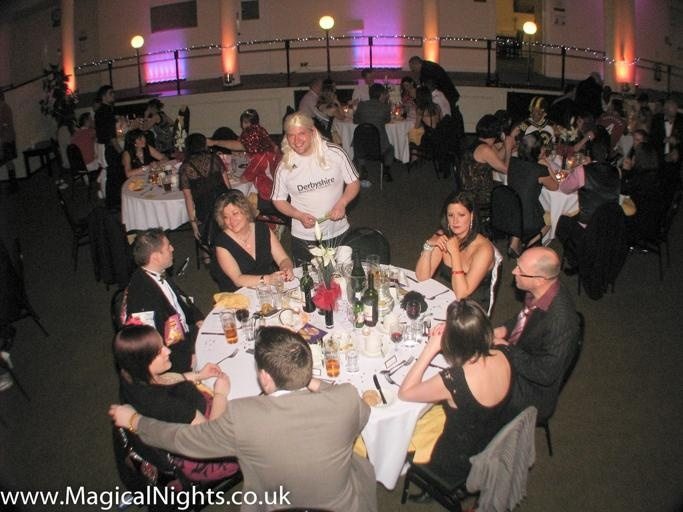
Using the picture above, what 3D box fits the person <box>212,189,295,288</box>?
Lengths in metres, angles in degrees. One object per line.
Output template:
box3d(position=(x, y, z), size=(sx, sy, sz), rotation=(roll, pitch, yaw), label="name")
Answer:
box3d(position=(-0.769, -0.137, 4.500), size=(0.465, 0.859, 0.685), rotation=(-30, 45, -27), label="person")

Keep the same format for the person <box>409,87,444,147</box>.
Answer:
box3d(position=(1.329, -2.214, 8.439), size=(0.496, 0.813, 0.523), rotation=(11, 27, 21), label="person")

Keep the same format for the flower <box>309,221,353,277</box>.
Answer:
box3d(position=(-0.099, -0.048, 4.165), size=(0.268, 0.364, 0.322), rotation=(15, 27, 19), label="flower")

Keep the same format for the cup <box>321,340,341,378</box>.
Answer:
box3d(position=(-0.051, 0.655, 3.358), size=(0.126, 0.243, 0.190), rotation=(-2, 28, 3), label="cup")

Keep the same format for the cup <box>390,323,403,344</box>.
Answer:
box3d(position=(0.366, 0.511, 3.495), size=(0.103, 0.191, 0.115), rotation=(0, 8, 2), label="cup")

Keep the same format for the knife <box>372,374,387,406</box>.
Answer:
box3d(position=(0.238, 0.827, 3.233), size=(0.036, 0.010, 0.218), rotation=(-14, 34, -1), label="knife")

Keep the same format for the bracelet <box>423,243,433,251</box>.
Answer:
box3d(position=(0.684, -0.070, 4.159), size=(0.066, 0.075, 0.069), rotation=(2, 11, 26), label="bracelet")

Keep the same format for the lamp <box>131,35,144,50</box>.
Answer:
box3d(position=(-5.463, -5.726, 14.086), size=(0.386, 0.359, 0.633), rotation=(-8, 13, -20), label="lamp")

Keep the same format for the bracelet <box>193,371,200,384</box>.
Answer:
box3d(position=(-0.940, 0.789, 3.405), size=(0.048, 0.073, 0.027), rotation=(1, 2, 28), label="bracelet")

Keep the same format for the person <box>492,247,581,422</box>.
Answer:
box3d(position=(1.370, 0.586, 3.687), size=(0.422, 1.384, 0.535), rotation=(5, 43, 10), label="person")

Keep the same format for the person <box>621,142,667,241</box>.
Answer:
box3d(position=(3.217, -0.647, 5.593), size=(0.400, 1.100, 0.288), rotation=(3, 13, 24), label="person")

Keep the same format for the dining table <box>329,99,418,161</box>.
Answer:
box3d(position=(0.520, -1.952, 8.301), size=(1.272, 0.846, 1.381), rotation=(0, 28, 2), label="dining table")

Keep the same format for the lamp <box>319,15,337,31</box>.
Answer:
box3d(position=(-0.348, -5.906, 13.343), size=(0.405, 0.424, 0.655), rotation=(-3, 12, -2), label="lamp")

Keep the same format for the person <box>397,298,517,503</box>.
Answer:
box3d(position=(0.701, 0.841, 3.110), size=(0.583, 1.172, 0.258), rotation=(1, 12, 19), label="person")

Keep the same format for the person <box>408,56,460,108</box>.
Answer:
box3d(position=(1.768, -3.300, 10.419), size=(0.517, 1.332, 0.566), rotation=(-16, -1, -29), label="person")

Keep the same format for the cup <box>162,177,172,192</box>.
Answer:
box3d(position=(-2.080, -0.850, 6.285), size=(0.094, 0.171, 0.160), rotation=(-1, -4, 2), label="cup")

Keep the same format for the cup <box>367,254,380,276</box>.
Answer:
box3d(position=(0.243, 0.072, 3.932), size=(0.109, 0.199, 0.113), rotation=(1, 4, 0), label="cup")

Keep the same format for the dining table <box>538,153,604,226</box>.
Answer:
box3d(position=(2.423, -0.704, 5.679), size=(0.694, 0.271, 0.662), rotation=(17, 64, 36), label="dining table")

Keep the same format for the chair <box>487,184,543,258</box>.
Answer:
box3d(position=(1.864, -0.394, 5.585), size=(0.465, 0.793, 0.413), rotation=(-27, 39, -30), label="chair")

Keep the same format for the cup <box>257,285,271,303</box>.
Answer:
box3d(position=(-0.568, 0.280, 3.923), size=(0.106, 0.116, 0.197), rotation=(6, 1, 2), label="cup")

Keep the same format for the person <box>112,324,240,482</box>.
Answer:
box3d(position=(-0.974, 0.892, 3.130), size=(0.507, 0.969, 0.481), rotation=(-31, 57, -20), label="person")

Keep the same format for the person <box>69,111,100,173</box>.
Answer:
box3d(position=(-4.209, -1.734, 8.647), size=(0.415, 1.080, 0.430), rotation=(-10, 18, -43), label="person")

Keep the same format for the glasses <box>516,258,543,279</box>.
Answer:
box3d(position=(1.253, 0.090, 3.531), size=(0.116, 0.039, 0.124), rotation=(6, 28, -3), label="glasses")

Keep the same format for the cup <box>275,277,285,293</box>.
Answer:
box3d(position=(-0.464, 0.226, 3.978), size=(0.082, 0.106, 0.087), rotation=(-4, 4, 0), label="cup")

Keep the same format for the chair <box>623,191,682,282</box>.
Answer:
box3d(position=(3.383, -0.188, 5.751), size=(0.505, 0.804, 0.478), rotation=(26, 57, 35), label="chair")

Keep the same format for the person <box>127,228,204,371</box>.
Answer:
box3d(position=(-1.367, 0.349, 4.080), size=(0.442, 1.257, 0.524), rotation=(-1, 34, -7), label="person")

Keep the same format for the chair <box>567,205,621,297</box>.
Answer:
box3d(position=(2.594, -0.031, 5.227), size=(0.439, 0.995, 0.244), rotation=(3, 13, 25), label="chair")

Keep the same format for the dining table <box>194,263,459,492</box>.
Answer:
box3d(position=(-0.147, 0.588, 3.538), size=(1.550, 0.402, 1.484), rotation=(24, 43, 25), label="dining table")

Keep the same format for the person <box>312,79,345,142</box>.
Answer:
box3d(position=(-0.148, -2.204, 9.140), size=(0.502, 1.617, 0.581), rotation=(-1, 17, 6), label="person")
